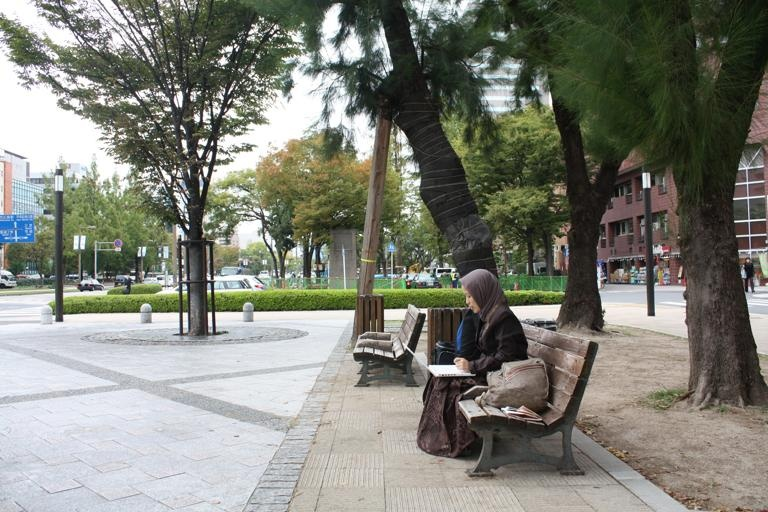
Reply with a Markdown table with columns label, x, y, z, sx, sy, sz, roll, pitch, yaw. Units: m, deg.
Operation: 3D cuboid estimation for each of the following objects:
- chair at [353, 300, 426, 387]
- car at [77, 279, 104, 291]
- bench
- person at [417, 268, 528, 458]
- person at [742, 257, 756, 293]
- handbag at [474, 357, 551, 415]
| label | x | y | z | sx | sy | sz | roll | pitch | yaw |
| --- | --- | --- | --- | --- | --- | --- | --- | --- | --- |
| chair | 0.072 | 1.693 | 10.842 | 1.107 | 1.039 | 2.439 | 1 | -6 | -1 |
| car | -26.707 | 2.652 | 57.254 | 1.001 | 0.678 | 2.227 | 0 | 2 | -9 |
| bench | 1.582 | 1.672 | 8.494 | 1.404 | 1.562 | 3.065 | 2 | 1 | -3 |
| person | 1.121 | 1.347 | 8.126 | 1.417 | 2.216 | 1.210 | -3 | -13 | 9 |
| person | 18.405 | 1.017 | 31.742 | 0.430 | 1.505 | 2.542 | 1 | 3 | 29 |
| handbag | 1.482 | 1.408 | 7.134 | 0.660 | 0.656 | 0.267 | -2 | -31 | 22 |
